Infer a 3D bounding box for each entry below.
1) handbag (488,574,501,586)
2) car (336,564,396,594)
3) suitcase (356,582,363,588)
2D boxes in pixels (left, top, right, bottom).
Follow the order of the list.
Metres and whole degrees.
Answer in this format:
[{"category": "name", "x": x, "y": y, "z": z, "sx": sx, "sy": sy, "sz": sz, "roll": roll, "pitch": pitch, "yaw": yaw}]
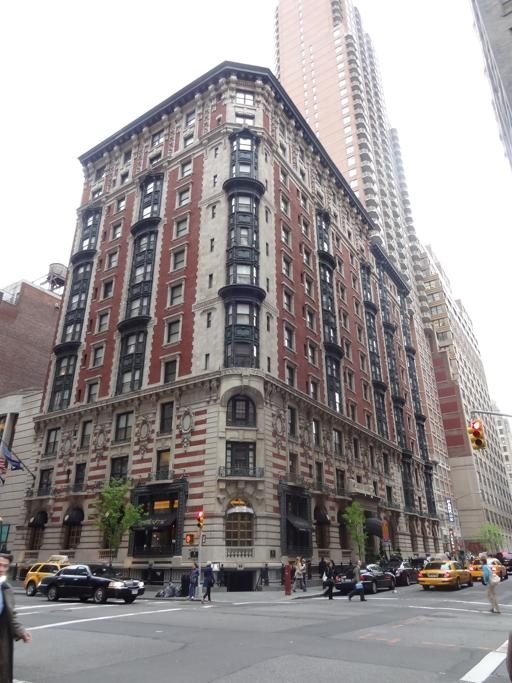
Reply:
[{"category": "handbag", "x": 7.473, "y": 7.518, "z": 15.754, "sx": 0.293, "sy": 0.131, "sz": 0.386, "roll": -1, "pitch": -5, "yaw": -31}, {"category": "car", "x": 5.856, "y": 12.646, "z": 26.640, "sx": 1.772, "sy": 1.423, "sz": 4.519, "roll": -11, "pitch": -27, "yaw": 25}, {"category": "suitcase", "x": 4.494, "y": 10.630, "z": 21.798, "sx": 0.232, "sy": 0.265, "sz": 0.634, "roll": -4, "pitch": -26, "yaw": 6}]
